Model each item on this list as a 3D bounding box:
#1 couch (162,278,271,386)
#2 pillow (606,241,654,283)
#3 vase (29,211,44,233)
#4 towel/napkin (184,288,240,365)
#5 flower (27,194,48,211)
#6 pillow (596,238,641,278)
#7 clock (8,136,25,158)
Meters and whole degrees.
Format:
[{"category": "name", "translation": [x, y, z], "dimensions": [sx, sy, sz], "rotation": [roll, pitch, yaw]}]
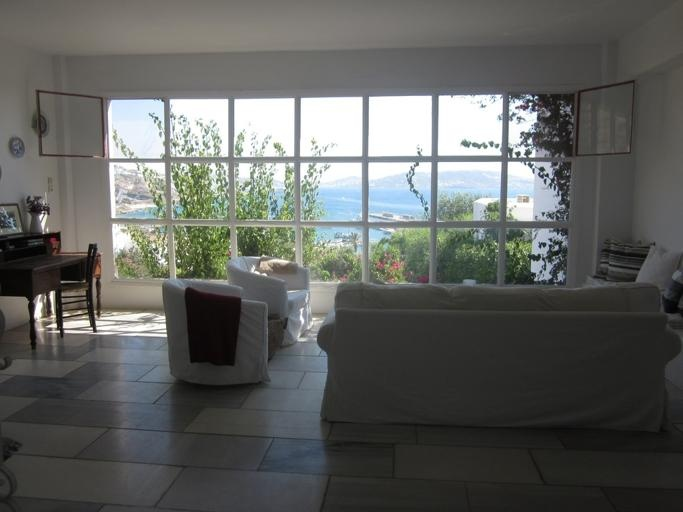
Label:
[{"category": "couch", "translation": [-1.260, 0.743, 5.172], "dimensions": [0.942, 1.008, 1.022], "rotation": [-1, 9, -18]}, {"category": "pillow", "translation": [3.527, 0.093, 6.256], "dimensions": [0.200, 0.535, 0.452], "rotation": [28, -13, -23]}, {"category": "vase", "translation": [-4.079, -0.458, 6.900], "dimensions": [0.186, 0.283, 0.357], "rotation": [-8, 15, -29]}, {"category": "towel/napkin", "translation": [-1.187, 0.673, 4.747], "dimensions": [0.588, 0.797, 0.128], "rotation": [6, 10, 2]}, {"category": "flower", "translation": [-4.024, -0.675, 6.874], "dimensions": [0.245, 0.140, 0.248], "rotation": [4, -2, -6]}, {"category": "pillow", "translation": [3.454, 0.060, 6.393], "dimensions": [0.146, 0.512, 0.485], "rotation": [17, 3, -29]}, {"category": "clock", "translation": [-4.210, -1.414, 6.683], "dimensions": [0.048, 0.212, 0.208], "rotation": [3, -13, 14]}]
